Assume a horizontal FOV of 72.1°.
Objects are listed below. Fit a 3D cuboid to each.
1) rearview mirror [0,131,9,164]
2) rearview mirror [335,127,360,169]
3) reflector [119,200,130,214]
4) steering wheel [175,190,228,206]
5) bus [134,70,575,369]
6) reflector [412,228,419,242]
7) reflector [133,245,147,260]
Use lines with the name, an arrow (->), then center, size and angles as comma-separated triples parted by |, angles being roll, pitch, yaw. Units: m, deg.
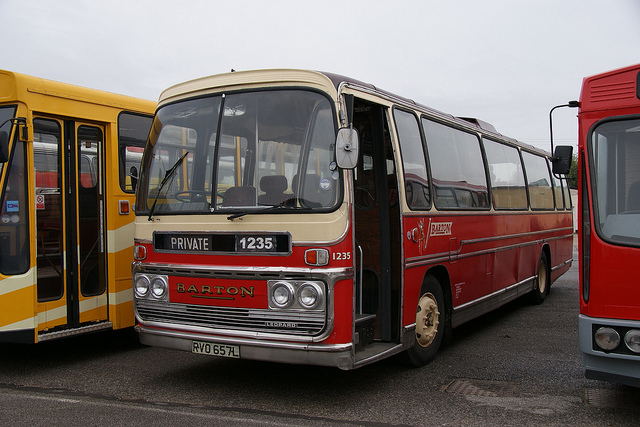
rearview mirror -> -4.503, -0.955, 6.263 | 0.079, 0.413, 0.125 | 1, -2, -30
rearview mirror -> 0.312, -0.789, 5.296 | 0.277, 0.499, 0.189 | 0, -1, 5
reflector -> -3.529, -0.113, 7.894 | 0.037, 0.243, 0.218 | -10, -2, 34
steering wheel -> -1.611, -0.231, 6.035 | 0.326, 0.076, 0.361 | 6, -21, 16
bus -> 2.186, -0.036, 10.134 | 3.253, 4.086, 11.711 | -2, -2, 33
reflector -> 1.415, 0.324, 6.582 | 0.183, 0.268, 0.026 | -6, 8, -43
reflector -> -2.590, 0.560, 6.344 | 0.154, 0.251, 0.067 | -2, -3, 21
